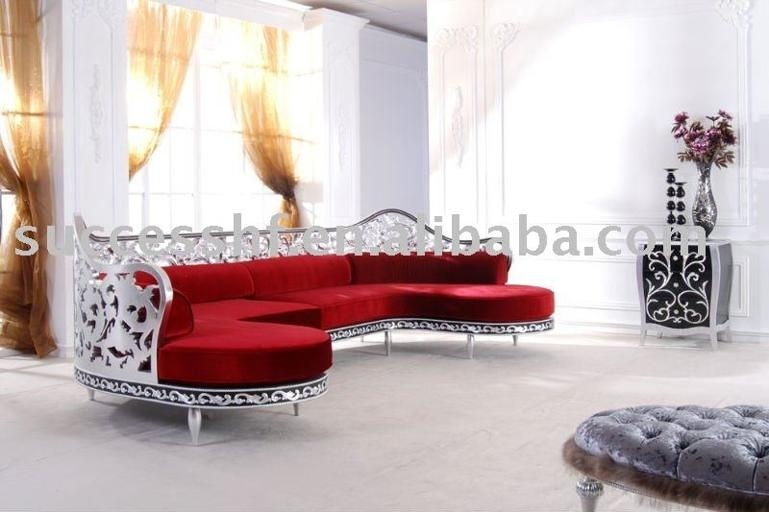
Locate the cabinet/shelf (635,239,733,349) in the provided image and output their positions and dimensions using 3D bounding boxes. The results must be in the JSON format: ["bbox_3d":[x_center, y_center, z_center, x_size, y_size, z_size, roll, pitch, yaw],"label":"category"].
[{"bbox_3d":[3.020,0.291,5.574,0.642,0.989,0.806,11,3,38],"label":"cabinet/shelf"}]

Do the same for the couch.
[{"bbox_3d":[-0.590,0.295,4.477,3.122,1.302,1.904,-6,9,-43],"label":"couch"}]

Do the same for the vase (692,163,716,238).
[{"bbox_3d":[3.030,-0.539,5.446,0.205,0.697,0.186,-2,7,-10],"label":"vase"}]
